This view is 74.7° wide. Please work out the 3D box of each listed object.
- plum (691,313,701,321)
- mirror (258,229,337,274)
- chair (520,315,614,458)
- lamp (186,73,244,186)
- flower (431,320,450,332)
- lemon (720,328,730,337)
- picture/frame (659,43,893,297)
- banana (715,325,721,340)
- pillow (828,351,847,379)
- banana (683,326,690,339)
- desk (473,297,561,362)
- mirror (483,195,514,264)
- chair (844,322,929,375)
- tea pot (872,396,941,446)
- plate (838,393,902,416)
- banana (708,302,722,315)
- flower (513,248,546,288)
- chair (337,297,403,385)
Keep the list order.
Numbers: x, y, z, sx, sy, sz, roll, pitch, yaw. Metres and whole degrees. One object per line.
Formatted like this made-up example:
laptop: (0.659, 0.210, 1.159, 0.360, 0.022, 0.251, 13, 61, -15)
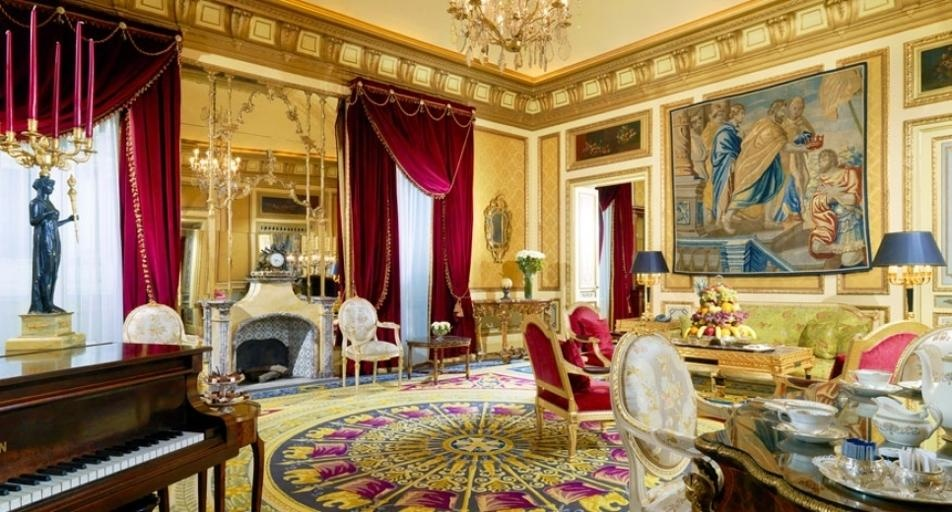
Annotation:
plum: (3.216, 0.884, 9.034, 0.089, 0.071, 0.113, -23, 11, -38)
mirror: (-2.854, -0.051, 10.043, 1.719, 0.924, 0.063, 2, 1, 20)
chair: (1.149, 1.526, 7.590, 0.783, 1.575, 0.993, -6, 14, -22)
lamp: (-3.975, -1.920, 9.581, 0.514, 1.738, 0.873, 6, 15, 26)
flower: (-0.620, 1.189, 10.468, 0.233, 0.137, 0.232, -6, -8, 34)
lemon: (3.509, 1.088, 8.787, 0.118, 0.107, 0.115, -5, 3, -17)
picture/frame: (4.924, -1.363, 9.904, 4.475, 3.902, 0.318, -4, -5, 38)
banana: (3.385, 1.076, 8.725, 0.055, 0.149, 0.078, 2, -26, -2)
pillow: (4.306, 1.295, 7.407, 0.095, 0.363, 0.399, 11, -15, 13)
banana: (3.189, 1.168, 9.411, 0.033, 0.177, 0.048, 30, -5, -20)
desk: (0.835, 1.512, 12.119, 0.997, 1.397, 2.414, 11, 0, 12)
mirror: (0.445, -0.530, 12.179, 0.262, 1.288, 0.658, 12, 18, 42)
chair: (4.514, 1.031, 6.794, 0.564, 0.851, 0.528, 6, 2, 19)
tea pot: (3.620, 1.400, 5.212, 0.469, 0.367, 0.521, 1, 0, -17)
plate: (3.476, 1.338, 5.567, 0.261, 0.101, 0.293, 0, 1, -5)
banana: (3.408, 0.753, 8.866, 0.127, 0.142, 0.121, -16, -27, -37)
flower: (1.006, 0.150, 12.004, 0.648, 0.638, 0.613, 1, 0, 2)
chair: (-1.725, 1.372, 9.913, 0.895, 1.295, 0.973, 4, 2, 37)
